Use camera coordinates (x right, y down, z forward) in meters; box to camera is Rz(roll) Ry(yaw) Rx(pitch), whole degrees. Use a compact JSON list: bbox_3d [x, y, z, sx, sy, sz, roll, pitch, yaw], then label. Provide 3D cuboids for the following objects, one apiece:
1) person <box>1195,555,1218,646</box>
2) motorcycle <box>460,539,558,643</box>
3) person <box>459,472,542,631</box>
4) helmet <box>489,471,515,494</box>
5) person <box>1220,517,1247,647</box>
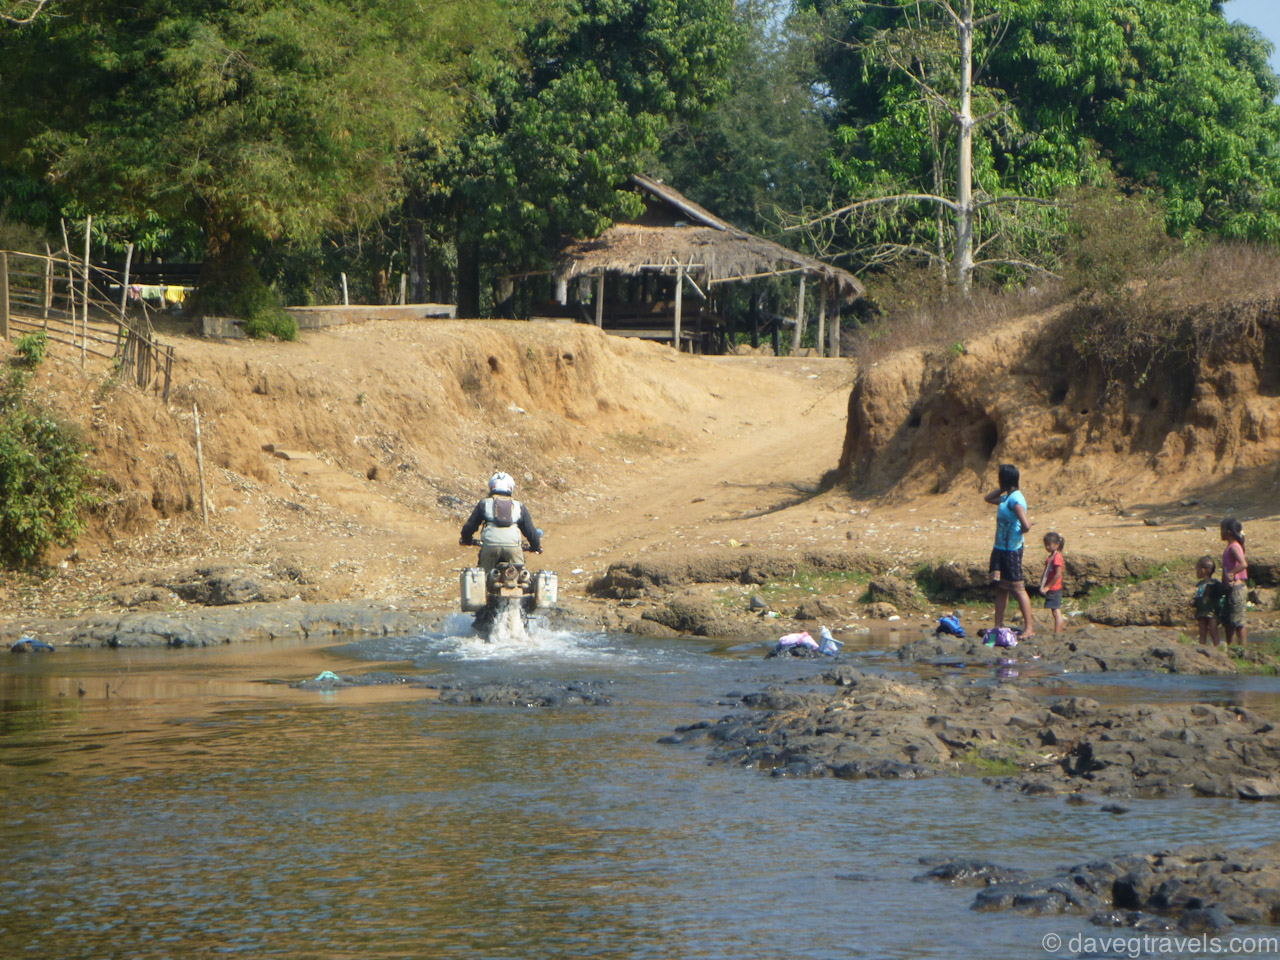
[{"bbox_3d":[9.007,1.925,39.503,0.390,1.373,1.091,0,-3,13],"label":"person"},{"bbox_3d":[-2.259,1.901,40.373,1.144,1.133,1.682,1,2,-4],"label":"motorcycle"},{"bbox_3d":[-2.317,1.196,40.334,1.295,2.641,1.062,1,-3,-3],"label":"person"},{"bbox_3d":[-2.294,0.102,40.446,0.372,0.457,0.511,2,12,-2],"label":"helmet"},{"bbox_3d":[9.278,1.595,38.903,0.379,1.969,0.761,0,-3,11],"label":"person"}]
